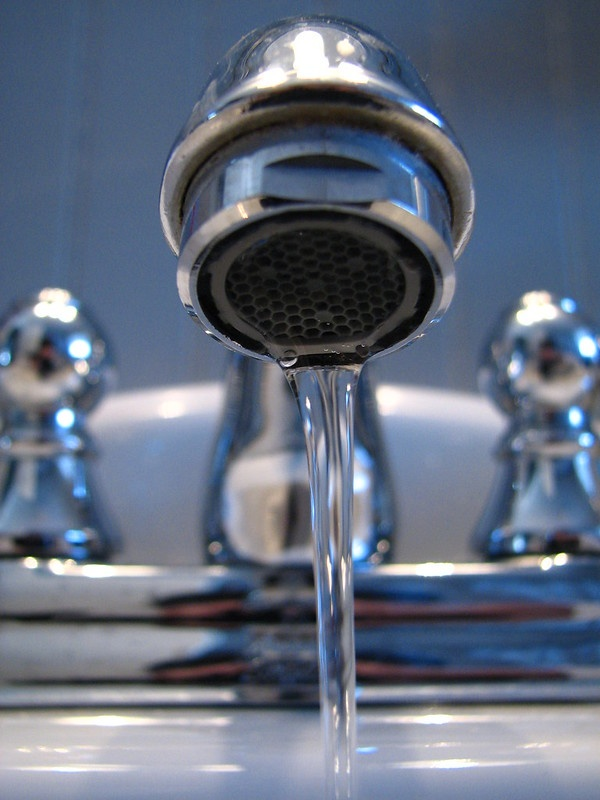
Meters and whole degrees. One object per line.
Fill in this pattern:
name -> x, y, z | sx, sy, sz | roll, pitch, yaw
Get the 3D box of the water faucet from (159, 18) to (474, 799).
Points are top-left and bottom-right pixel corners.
water faucet -> 0.009, 0.003, 0.333 | 0.075, 0.190, 0.081 | -9, -13, 26
